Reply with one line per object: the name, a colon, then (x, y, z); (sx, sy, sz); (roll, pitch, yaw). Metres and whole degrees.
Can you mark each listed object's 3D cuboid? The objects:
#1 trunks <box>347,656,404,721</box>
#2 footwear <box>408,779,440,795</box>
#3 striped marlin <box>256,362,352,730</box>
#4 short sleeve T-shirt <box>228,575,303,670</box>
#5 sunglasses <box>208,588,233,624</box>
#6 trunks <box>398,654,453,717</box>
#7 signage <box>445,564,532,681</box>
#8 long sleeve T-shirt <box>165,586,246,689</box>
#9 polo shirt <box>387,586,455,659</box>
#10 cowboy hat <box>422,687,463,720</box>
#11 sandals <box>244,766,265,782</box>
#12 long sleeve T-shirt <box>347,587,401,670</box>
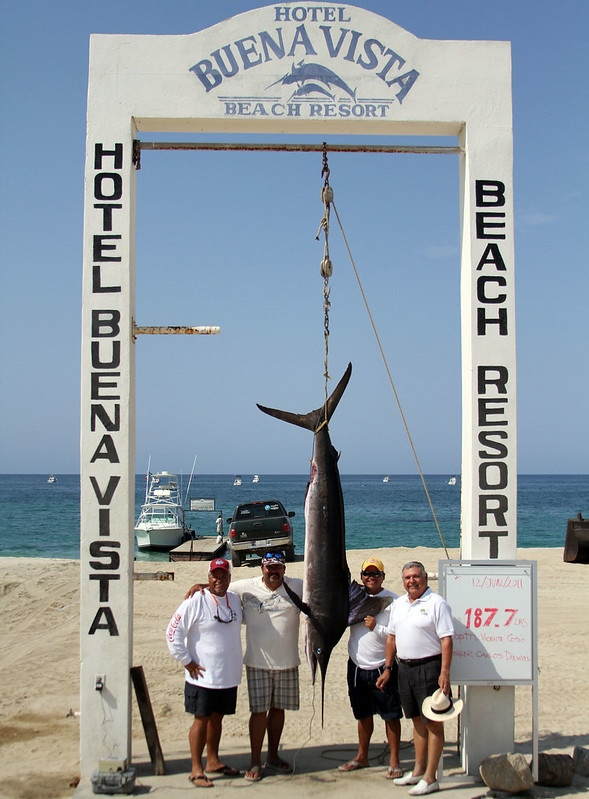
trunks: (0.579, 2.124, 10.255); (0.361, 0.532, 0.221); (0, 22, 12)
footwear: (0.921, 2.762, 9.783); (0.211, 0.093, 0.086); (5, -23, -19)
striped marlin: (0.161, 1.035, 10.012); (0.685, 2.506, 0.421); (-3, 9, 1)
short sleeve T-shirt: (-0.218, 1.657, 10.212); (0.653, 0.571, 0.216); (0, -6, -7)
sunglasses: (-0.513, 1.521, 10.067); (0.144, 0.209, 0.050); (-1, -16, -29)
trunks: (0.901, 2.072, 9.967); (0.300, 0.466, 0.254); (2, 10, 37)
signage: (1.427, 1.676, 10.084); (0.753, 1.011, 0.069); (0, -8, 2)
long sleeve T-shirt: (-0.593, 1.752, 10.178); (0.746, 0.721, 0.334); (9, -13, -41)
polo shirt: (0.904, 1.629, 9.944); (0.482, 0.502, 0.254); (-1, -3, 10)
cowboy hat: (1.046, 2.156, 9.672); (0.292, 0.242, 0.298); (0, -3, -5)
sandals: (-0.276, 2.721, 10.014); (0.186, 0.095, 0.122); (2, -3, -42)
long sleeve T-shirt: (0.638, 1.725, 10.329); (0.543, 0.426, 0.428); (-14, 1, 22)
